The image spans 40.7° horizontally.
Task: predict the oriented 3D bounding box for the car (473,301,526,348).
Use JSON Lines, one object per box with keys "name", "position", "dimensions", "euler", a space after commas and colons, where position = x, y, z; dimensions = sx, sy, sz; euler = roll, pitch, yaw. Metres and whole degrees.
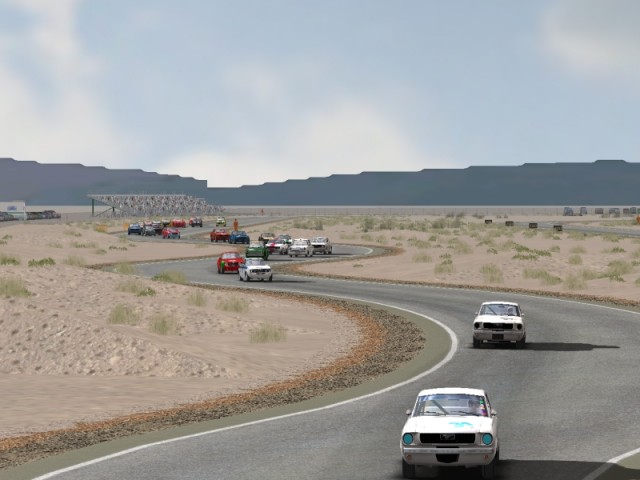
{"name": "car", "position": [5.390, 2.533, 26.267], "dimensions": [1.493, 1.281, 1.636], "euler": [-1, -2, 9]}
